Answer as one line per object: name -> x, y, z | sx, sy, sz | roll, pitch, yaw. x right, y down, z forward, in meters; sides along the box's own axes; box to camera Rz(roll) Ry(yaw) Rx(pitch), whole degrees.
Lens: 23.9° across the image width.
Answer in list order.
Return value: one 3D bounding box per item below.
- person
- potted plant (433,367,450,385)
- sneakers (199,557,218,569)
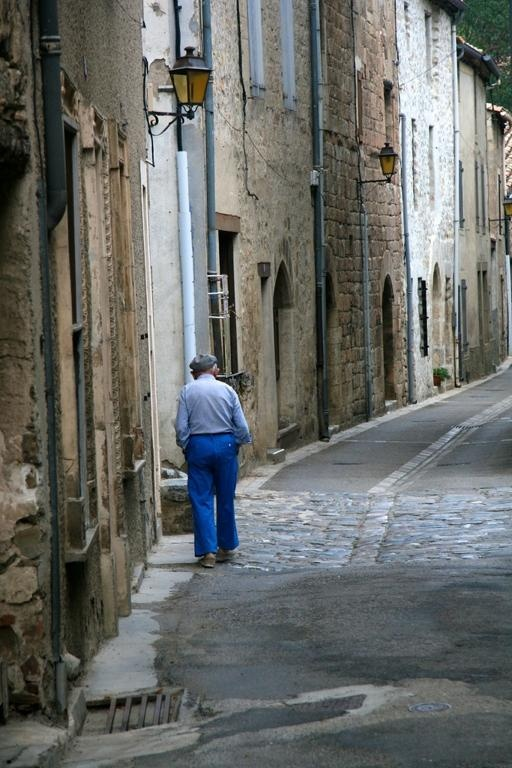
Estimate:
person -> -0.291, 0.499, 8.245 | 0.495, 1.458, 0.477 | -5, 0, -14
potted plant -> 4.191, -0.213, 27.540 | 0.311, 0.503, 0.327 | 1, -7, -5
sneakers -> -0.327, 1.186, 8.049 | 0.116, 0.089, 0.203 | -9, 0, -6
